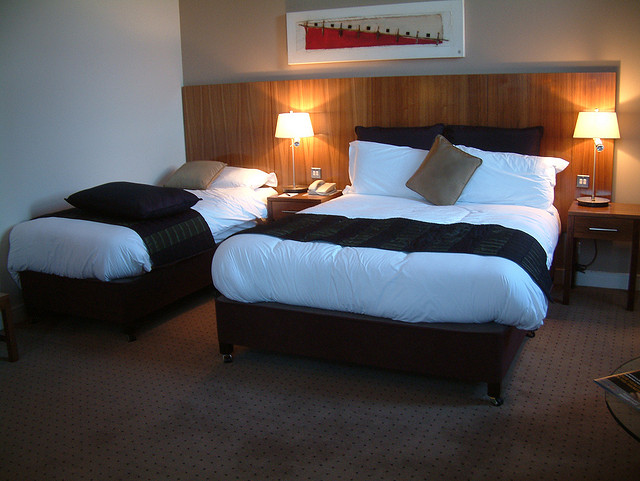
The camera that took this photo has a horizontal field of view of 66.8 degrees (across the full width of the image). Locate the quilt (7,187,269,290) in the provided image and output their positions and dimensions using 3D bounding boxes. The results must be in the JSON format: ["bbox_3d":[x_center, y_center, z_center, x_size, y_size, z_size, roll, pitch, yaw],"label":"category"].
[{"bbox_3d":[-1.436,-0.056,4.135,0.934,0.366,1.432,9,18,25],"label":"quilt"}]

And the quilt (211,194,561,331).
[{"bbox_3d":[0.469,0.148,3.063,1.819,0.639,1.886,7,12,27],"label":"quilt"}]

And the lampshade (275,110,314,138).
[{"bbox_3d":[-0.248,-1.140,4.807,0.304,0.192,0.289,-5,18,-11],"label":"lampshade"}]

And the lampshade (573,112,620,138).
[{"bbox_3d":[2.225,-0.922,3.887,0.263,0.162,0.257,7,17,33],"label":"lampshade"}]

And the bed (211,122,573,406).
[{"bbox_3d":[0.527,-0.200,3.780,1.991,1.222,2.349,5,21,19],"label":"bed"}]

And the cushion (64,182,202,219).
[{"bbox_3d":[-1.511,-0.440,4.439,1.328,0.277,1.048,9,11,28],"label":"cushion"}]

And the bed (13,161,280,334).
[{"bbox_3d":[-1.375,-0.050,4.345,1.251,0.744,1.841,6,14,22],"label":"bed"}]

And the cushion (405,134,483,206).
[{"bbox_3d":[1.085,-0.521,4.129,0.577,0.549,0.179,39,5,36],"label":"cushion"}]
